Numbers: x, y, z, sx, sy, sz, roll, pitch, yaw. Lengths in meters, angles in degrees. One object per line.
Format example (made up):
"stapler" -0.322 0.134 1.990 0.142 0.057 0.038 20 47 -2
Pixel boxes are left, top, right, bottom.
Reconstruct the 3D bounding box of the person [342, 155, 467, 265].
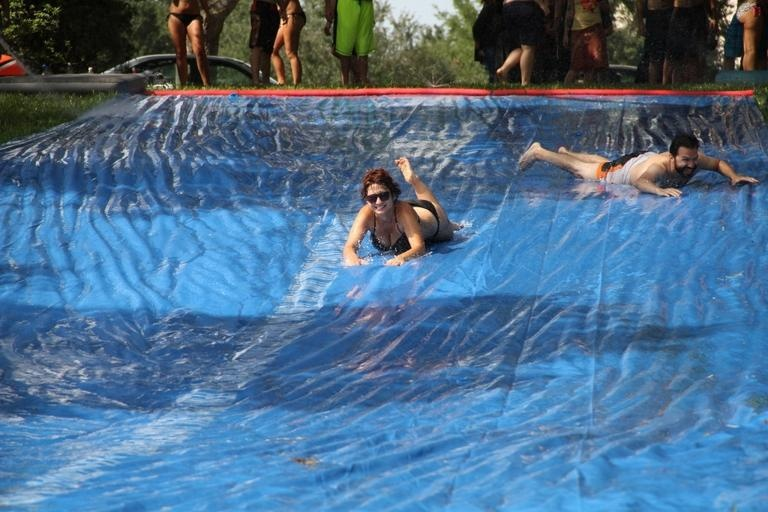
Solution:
"person" 0.138 -0.394 6.868 0.805 0.784 1.889 2 13 22

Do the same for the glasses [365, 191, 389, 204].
"glasses" -0.117 -0.480 6.311 0.230 0.100 0.101 1 11 21

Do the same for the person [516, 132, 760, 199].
"person" 2.438 -0.822 7.481 1.664 0.385 0.895 12 23 43
